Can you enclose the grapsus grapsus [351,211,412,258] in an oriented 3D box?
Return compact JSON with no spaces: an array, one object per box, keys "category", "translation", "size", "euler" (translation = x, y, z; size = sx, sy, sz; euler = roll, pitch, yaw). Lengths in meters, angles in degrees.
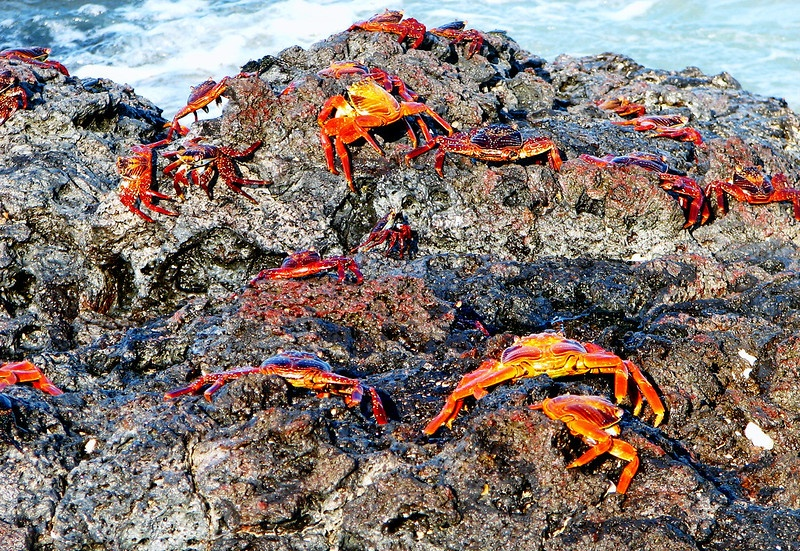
[{"category":"grapsus grapsus","translation":[-0.234,-0.637,23.640],"size":[0.926,0.455,0.598],"euler":[-28,52,-8]}]
